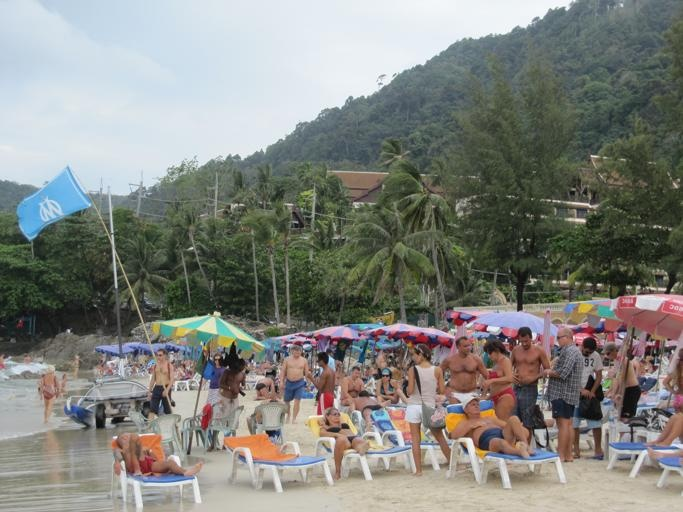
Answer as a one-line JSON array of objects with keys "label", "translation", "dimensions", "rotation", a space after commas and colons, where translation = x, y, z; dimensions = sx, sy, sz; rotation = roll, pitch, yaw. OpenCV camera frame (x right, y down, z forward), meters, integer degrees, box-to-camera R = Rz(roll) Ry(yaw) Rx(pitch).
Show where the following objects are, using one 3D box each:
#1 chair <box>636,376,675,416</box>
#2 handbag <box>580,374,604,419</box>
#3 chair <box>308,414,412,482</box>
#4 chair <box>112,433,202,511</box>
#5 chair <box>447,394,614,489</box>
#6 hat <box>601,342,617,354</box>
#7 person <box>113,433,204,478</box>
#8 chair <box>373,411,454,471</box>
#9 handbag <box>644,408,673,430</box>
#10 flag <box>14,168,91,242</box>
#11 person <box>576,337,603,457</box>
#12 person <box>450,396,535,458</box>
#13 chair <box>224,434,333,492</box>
[{"label": "chair", "translation": [7.070, 3.176, 16.680], "dimensions": [0.769, 0.712, 1.524], "rotation": [2, 9, 22]}, {"label": "handbag", "translation": [5.149, 2.997, 15.080], "dimensions": [0.576, 0.829, 0.378], "rotation": [34, -35, -27]}, {"label": "chair", "translation": [0.471, 3.874, 14.804], "dimensions": [1.092, 1.160, 1.716], "rotation": [5, -14, -43]}, {"label": "chair", "translation": [-3.618, 3.921, 13.556], "dimensions": [1.032, 1.154, 1.644], "rotation": [3, -13, -25]}, {"label": "chair", "translation": [2.997, 3.239, 13.391], "dimensions": [1.266, 1.456, 2.002], "rotation": [3, -8, -32]}, {"label": "hat", "translation": [6.142, 2.119, 16.967], "dimensions": [0.289, 0.179, 0.217], "rotation": [-2, 9, 36]}, {"label": "person", "translation": [-3.354, 3.617, 13.335], "dimensions": [1.580, 0.797, 0.747], "rotation": [-5, -6, 24]}, {"label": "chair", "translation": [1.384, 3.764, 15.515], "dimensions": [0.896, 0.999, 1.292], "rotation": [5, -14, -33]}, {"label": "handbag", "translation": [6.472, 3.290, 15.125], "dimensions": [0.515, 0.569, 0.214], "rotation": [-3, 30, 13]}, {"label": "flag", "translation": [-7.646, -0.990, 19.419], "dimensions": [2.067, 0.866, 3.076], "rotation": [-40, 1, -23]}, {"label": "person", "translation": [4.905, 2.873, 15.021], "dimensions": [0.637, 2.507, 0.696], "rotation": [1, 7, 31]}, {"label": "person", "translation": [2.810, 3.160, 13.638], "dimensions": [1.163, 1.107, 2.068], "rotation": [7, -10, -28]}, {"label": "chair", "translation": [-1.354, 3.829, 14.039], "dimensions": [1.061, 0.775, 1.553], "rotation": [3, -7, -42]}]
